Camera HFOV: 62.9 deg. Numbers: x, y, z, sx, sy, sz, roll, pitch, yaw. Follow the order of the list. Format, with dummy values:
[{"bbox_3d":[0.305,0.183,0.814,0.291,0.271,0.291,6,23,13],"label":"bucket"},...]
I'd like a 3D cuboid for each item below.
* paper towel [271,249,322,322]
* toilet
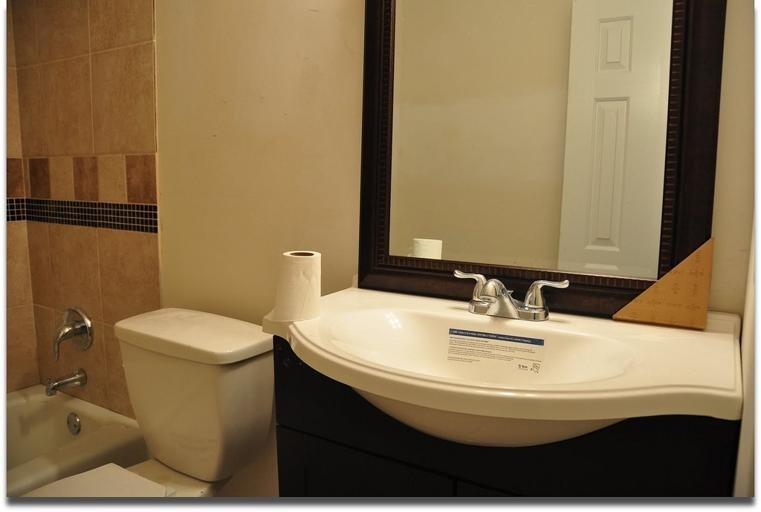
[{"bbox_3d":[-0.255,0.076,1.827,0.162,0.190,0.157,-3,13,-15],"label":"paper towel"},{"bbox_3d":[-0.659,0.497,2.229,0.553,0.509,0.346,8,10,27],"label":"toilet"}]
